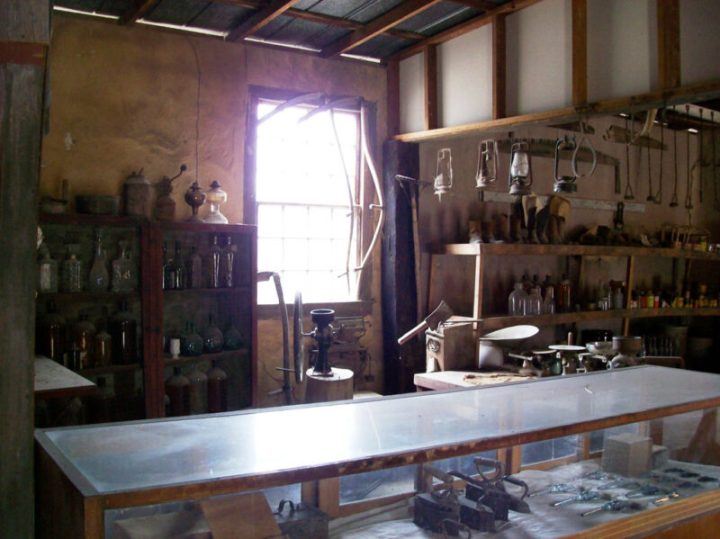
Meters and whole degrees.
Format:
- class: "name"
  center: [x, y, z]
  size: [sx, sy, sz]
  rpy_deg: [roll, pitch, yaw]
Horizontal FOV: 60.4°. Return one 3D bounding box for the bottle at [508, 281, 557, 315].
- class: "bottle"
  center: [1.502, 0.258, 5.444]
  size: [0.435, 0.405, 0.245]
  rpy_deg: [4, -8, -17]
